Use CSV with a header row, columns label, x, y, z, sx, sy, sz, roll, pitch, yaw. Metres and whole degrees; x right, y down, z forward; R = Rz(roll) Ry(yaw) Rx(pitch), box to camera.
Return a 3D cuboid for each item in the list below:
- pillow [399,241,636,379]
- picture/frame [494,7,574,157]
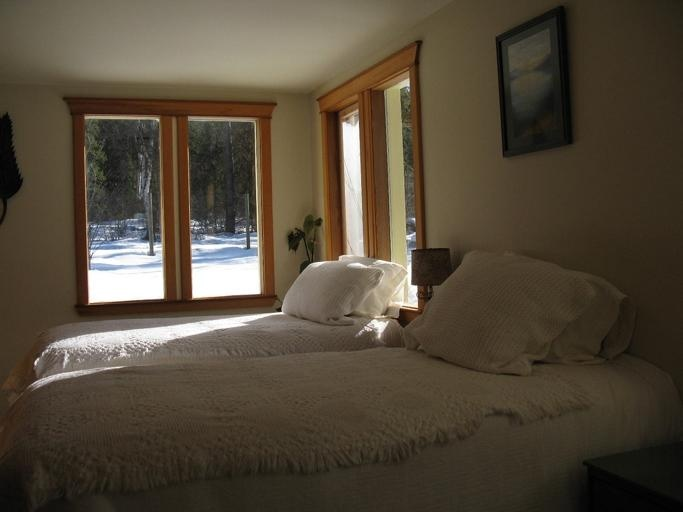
label,x,y,z,sx,sy,sz,roll,pitch,yaw
pillow,0.800,0.266,2.325,0.598,0.197,0.644,10,46,31
picture/frame,1.077,-0.950,2.812,0.128,0.781,0.566,-4,15,-20
